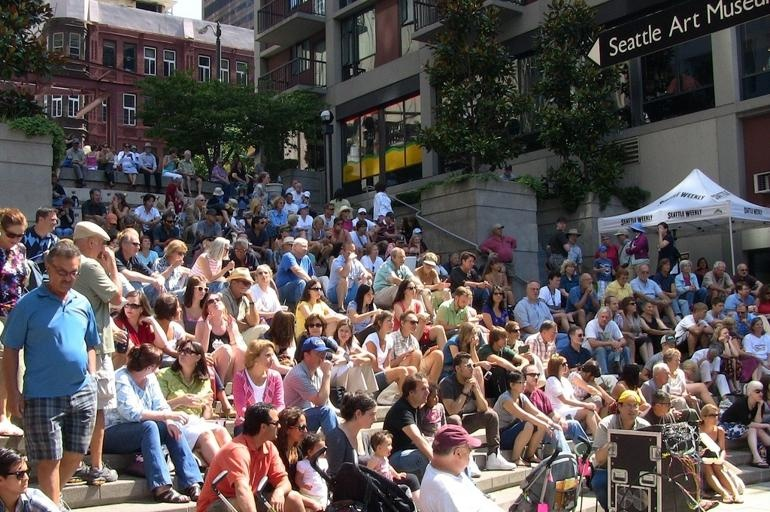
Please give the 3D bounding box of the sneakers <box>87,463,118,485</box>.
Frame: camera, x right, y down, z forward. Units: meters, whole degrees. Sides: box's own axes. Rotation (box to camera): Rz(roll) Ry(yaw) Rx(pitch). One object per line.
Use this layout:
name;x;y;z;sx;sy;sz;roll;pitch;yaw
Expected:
sneakers;-5.048;3.898;21.316;0.575;0.284;0.226;4;-6;-38

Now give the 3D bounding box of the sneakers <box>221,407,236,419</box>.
sneakers;-3.010;3.027;23.147;0.207;0.137;0.490;1;-8;-23

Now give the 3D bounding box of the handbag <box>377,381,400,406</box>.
handbag;0.087;2.862;24.589;0.473;0.208;0.371;-35;-10;20

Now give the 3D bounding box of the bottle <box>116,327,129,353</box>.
bottle;-4.902;1.586;22.518;0.185;0.481;0.152;4;-3;-19

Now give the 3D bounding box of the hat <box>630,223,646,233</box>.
hat;6.904;-0.767;32.965;0.295;0.102;0.308;13;-3;16

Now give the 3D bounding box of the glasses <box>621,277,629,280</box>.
glasses;5.977;0.573;29.937;0.087;0.072;0.108;1;13;-44

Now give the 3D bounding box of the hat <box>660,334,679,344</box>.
hat;6.565;1.951;27.814;0.312;0.186;0.234;8;10;35

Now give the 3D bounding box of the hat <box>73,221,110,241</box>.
hat;-5.268;-0.418;21.463;0.440;0.231;0.382;7;-7;-13

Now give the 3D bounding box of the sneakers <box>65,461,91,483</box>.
sneakers;-5.398;3.874;21.262;0.187;0.257;0.548;1;-3;3

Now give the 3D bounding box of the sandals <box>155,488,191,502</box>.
sandals;-3.793;4.261;21.386;0.510;0.223;0.282;0;-2;1

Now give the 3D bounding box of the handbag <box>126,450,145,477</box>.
handbag;-4.506;3.757;21.700;0.337;0.360;0.185;14;-26;-3

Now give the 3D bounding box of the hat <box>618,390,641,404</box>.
hat;4.826;2.779;23.655;0.327;0.192;0.475;5;-5;24

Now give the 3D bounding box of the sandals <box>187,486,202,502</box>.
sandals;-3.406;4.249;21.589;0.183;0.304;0.152;-17;-22;7

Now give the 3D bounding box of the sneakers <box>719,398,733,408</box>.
sneakers;7.633;3.295;26.879;0.206;0.087;0.160;-9;2;-13

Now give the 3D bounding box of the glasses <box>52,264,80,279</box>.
glasses;-5.413;0.287;20.435;0.342;0.184;0.139;3;-4;-32
